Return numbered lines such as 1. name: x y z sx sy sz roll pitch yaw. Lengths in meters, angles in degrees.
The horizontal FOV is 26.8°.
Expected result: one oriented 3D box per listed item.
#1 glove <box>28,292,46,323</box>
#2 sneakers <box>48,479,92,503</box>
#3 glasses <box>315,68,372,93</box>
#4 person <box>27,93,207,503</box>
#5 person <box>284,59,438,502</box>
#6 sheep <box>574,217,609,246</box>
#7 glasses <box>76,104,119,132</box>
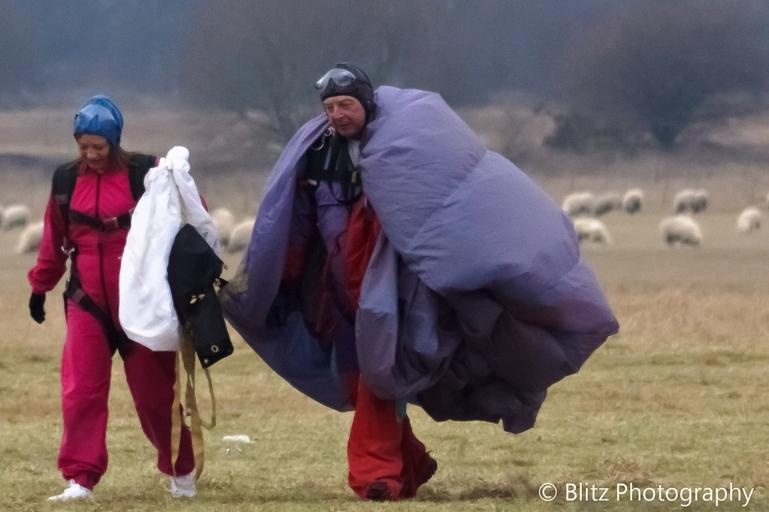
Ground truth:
1. glove: -1.970 0.287 9.336 0.115 0.175 0.060 -1 7 34
2. sneakers: -1.731 1.310 9.086 0.299 0.112 0.095 2 -4 -3
3. glasses: -0.228 -0.993 9.060 0.295 0.151 0.150 0 8 -3
4. person: -1.519 0.224 9.150 0.964 2.237 0.522 -1 8 -9
5. person: -0.180 0.132 9.151 0.783 2.406 0.493 4 9 26
6. sheep: 1.511 -0.194 11.878 0.263 0.181 0.257 -1 8 -8
7. glasses: -1.620 -0.763 9.065 0.187 0.109 0.174 -2 -8 -2
